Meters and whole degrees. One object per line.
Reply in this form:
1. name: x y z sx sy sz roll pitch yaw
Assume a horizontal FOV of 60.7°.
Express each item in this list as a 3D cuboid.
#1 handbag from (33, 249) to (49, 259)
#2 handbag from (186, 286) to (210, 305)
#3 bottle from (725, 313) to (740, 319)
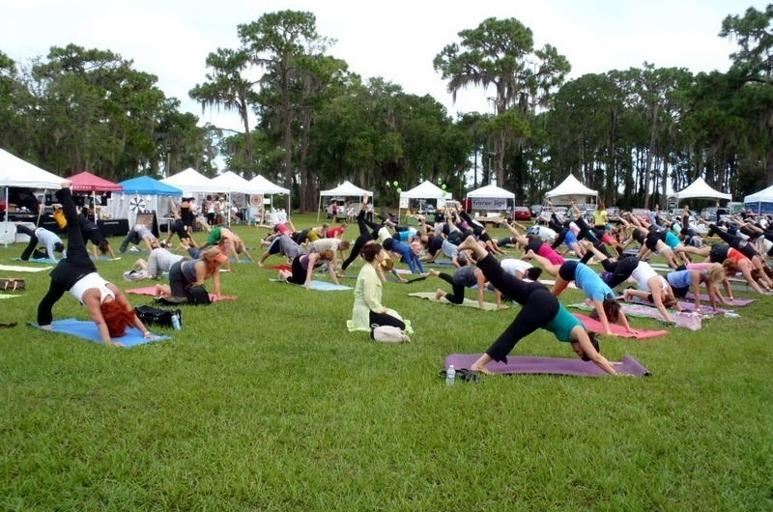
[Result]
1. handbag: -10.217 -0.050 19.470 0.353 0.273 0.467 9 -4 -35
2. handbag: -4.083 0.856 14.174 0.319 0.432 0.214 -4 -7 -38
3. bottle: 8.042 1.390 15.352 0.200 0.069 0.209 -3 5 0
